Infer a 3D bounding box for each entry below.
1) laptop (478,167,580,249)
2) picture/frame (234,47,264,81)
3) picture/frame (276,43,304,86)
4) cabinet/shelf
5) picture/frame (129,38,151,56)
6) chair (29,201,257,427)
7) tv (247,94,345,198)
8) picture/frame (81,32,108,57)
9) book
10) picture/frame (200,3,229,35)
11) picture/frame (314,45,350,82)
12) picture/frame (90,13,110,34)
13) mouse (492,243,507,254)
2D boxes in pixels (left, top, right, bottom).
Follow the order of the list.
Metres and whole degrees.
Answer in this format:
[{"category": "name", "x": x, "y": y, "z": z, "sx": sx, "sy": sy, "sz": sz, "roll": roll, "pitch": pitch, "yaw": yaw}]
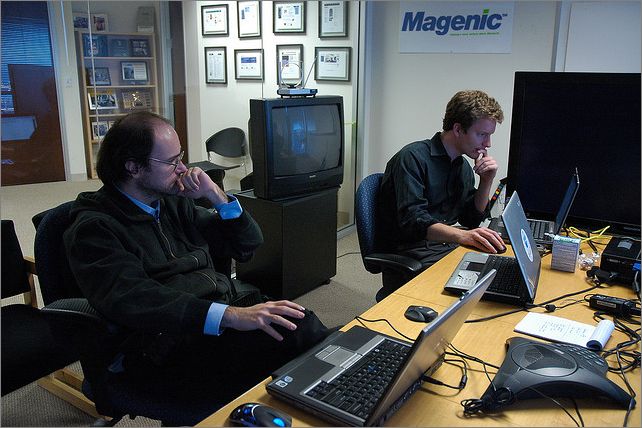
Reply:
[{"category": "laptop", "x": 1.158, "y": 0.006, "z": 2.556, "sx": 0.452, "sy": 0.387, "sz": 0.529, "roll": 7, "pitch": 21, "yaw": 24}, {"category": "picture/frame", "x": -0.580, "y": -1.201, "z": 3.595, "sx": 0.262, "sy": 0.265, "sz": 0.035, "roll": -16, "pitch": 24, "yaw": -39}, {"category": "picture/frame", "x": -0.277, "y": -1.316, "z": 3.948, "sx": 0.041, "sy": 0.439, "sz": 0.380, "roll": 5, "pitch": 10, "yaw": 41}, {"category": "cabinet/shelf", "x": -0.278, "y": 0.214, "z": 3.363, "sx": 0.378, "sy": 0.726, "sz": 0.708, "roll": 12, "pitch": 22, "yaw": 33}, {"category": "picture/frame", "x": -1.144, "y": -1.052, "z": 2.841, "sx": 0.014, "sy": 0.104, "sz": 0.140, "roll": 12, "pitch": 10, "yaw": 25}, {"category": "chair", "x": -1.019, "y": 0.235, "z": 2.399, "sx": 0.929, "sy": 1.180, "sz": 0.950, "roll": 3, "pitch": 13, "yaw": 21}, {"category": "tv", "x": -0.213, "y": -0.533, "z": 3.458, "sx": 0.689, "sy": 0.625, "sz": 0.368, "roll": -14, "pitch": 20, "yaw": -42}, {"category": "picture/frame", "x": -1.347, "y": -1.002, "z": 2.679, "sx": 0.079, "sy": 0.149, "sz": 0.154, "roll": 2, "pitch": 6, "yaw": 44}, {"category": "book", "x": 0.953, "y": 0.457, "z": 1.775, "sx": 0.192, "sy": 0.043, "sz": 0.181, "roll": 12, "pitch": 14, "yaw": 30}, {"category": "picture/frame", "x": -0.791, "y": -1.444, "z": 3.333, "sx": 0.259, "sy": 0.264, "sz": 0.026, "roll": -7, "pitch": 8, "yaw": -37}, {"category": "picture/frame", "x": 0.101, "y": -1.466, "z": 4.374, "sx": 0.405, "sy": 0.346, "sz": 0.034, "roll": -6, "pitch": 15, "yaw": -26}, {"category": "picture/frame", "x": -1.326, "y": -1.148, "z": 2.706, "sx": 0.111, "sy": 0.131, "sz": 0.013, "roll": -15, "pitch": 30, "yaw": -24}, {"category": "mouse", "x": 0.912, "y": 0.179, "z": 2.303, "sx": 0.074, "sy": 0.025, "sz": 0.044, "roll": 15, "pitch": 35, "yaw": 42}]
